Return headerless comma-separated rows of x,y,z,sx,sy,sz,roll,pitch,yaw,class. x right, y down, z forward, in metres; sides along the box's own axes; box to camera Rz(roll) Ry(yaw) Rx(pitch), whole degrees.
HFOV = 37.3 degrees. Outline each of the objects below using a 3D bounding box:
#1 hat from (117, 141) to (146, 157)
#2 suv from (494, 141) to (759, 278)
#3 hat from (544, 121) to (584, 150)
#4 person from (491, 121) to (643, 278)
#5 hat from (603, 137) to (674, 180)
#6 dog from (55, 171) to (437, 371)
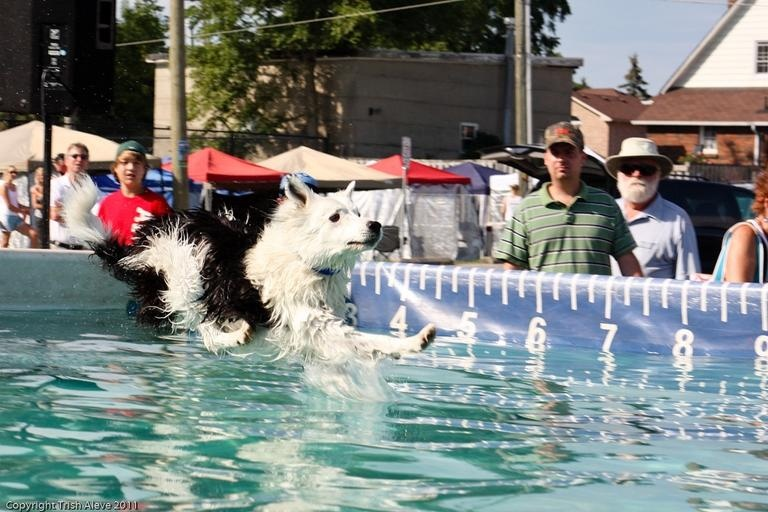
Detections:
-2.541,-1.105,11.431,0.273,0.114,0.226,-1,-3,14,hat
2.335,-0.470,11.291,2.664,1.000,1.312,0,7,11,suv
1.635,-1.105,10.328,0.310,0.148,0.344,1,6,5,hat
1.685,-0.517,10.364,1.223,1.031,0.400,3,2,5,person
2.412,-0.983,10.774,0.623,0.195,0.633,7,-12,6,hat
-1.219,-0.025,10.143,4.127,1.424,1.315,5,18,37,dog
